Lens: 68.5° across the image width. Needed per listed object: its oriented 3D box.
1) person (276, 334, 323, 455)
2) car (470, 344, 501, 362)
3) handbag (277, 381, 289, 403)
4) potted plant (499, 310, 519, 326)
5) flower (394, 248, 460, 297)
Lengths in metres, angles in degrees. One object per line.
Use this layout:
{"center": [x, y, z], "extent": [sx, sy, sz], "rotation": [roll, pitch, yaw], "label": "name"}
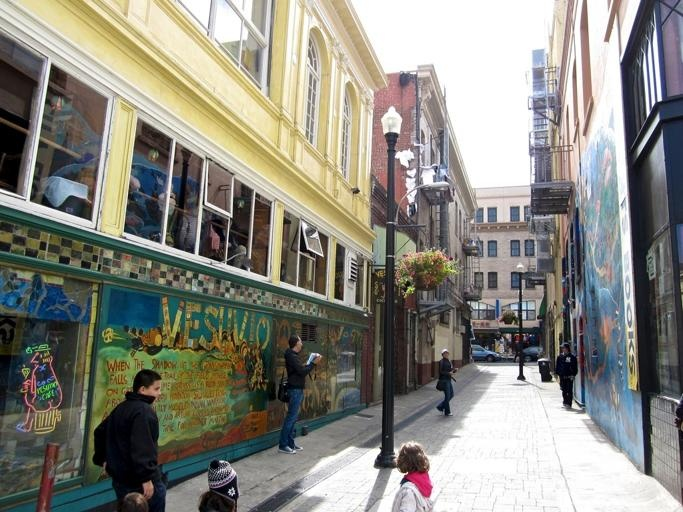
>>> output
{"center": [-0.951, 2.846, 10.427], "extent": [0.578, 2.366, 0.920], "rotation": [6, -13, -39], "label": "person"}
{"center": [14.552, 9.884, 50.033], "extent": [3.326, 1.397, 1.684], "rotation": [-3, -3, 5], "label": "car"}
{"center": [-1.215, 2.805, 10.378], "extent": [0.242, 0.569, 0.477], "rotation": [2, -7, -14], "label": "handbag"}
{"center": [20.364, 7.618, 61.617], "extent": [1.433, 1.754, 1.609], "rotation": [-3, -8, 26], "label": "potted plant"}
{"center": [2.720, 0.504, 17.464], "extent": [1.569, 1.290, 1.727], "rotation": [1, -13, 1], "label": "flower"}
